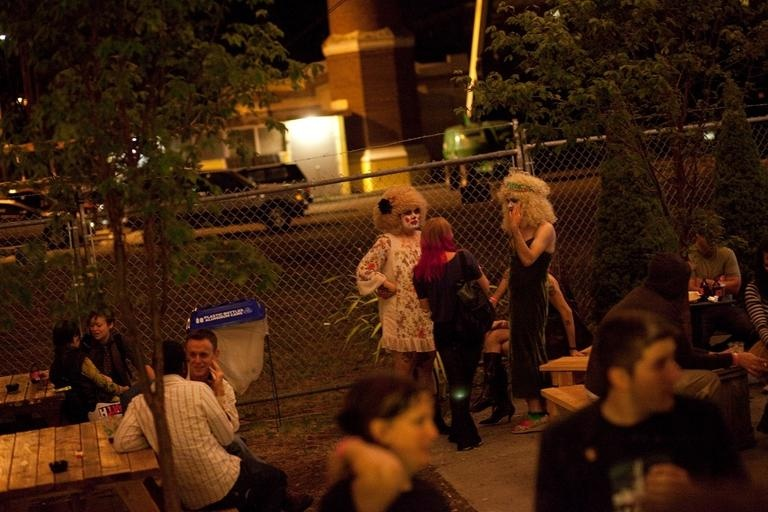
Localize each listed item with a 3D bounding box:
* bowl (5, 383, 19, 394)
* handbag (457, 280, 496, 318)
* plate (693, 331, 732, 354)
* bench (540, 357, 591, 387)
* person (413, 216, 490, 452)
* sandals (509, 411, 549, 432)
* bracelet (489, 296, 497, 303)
[{"bbox_3d":[-4.125,1.477,6.986,0.105,0.051,0.128,1,-8,-18],"label":"bowl"},{"bbox_3d":[0.885,0.432,6.224,0.291,0.380,0.202,-16,-13,-26],"label":"handbag"},{"bbox_3d":[3.530,0.936,6.815,0.424,0.130,0.300,-4,-6,10],"label":"plate"},{"bbox_3d":[1.810,1.155,6.341,0.362,0.159,0.511,-1,0,8],"label":"bench"},{"bbox_3d":[0.787,0.782,6.528,0.842,2.272,0.834,-5,3,24],"label":"person"},{"bbox_3d":[1.528,1.707,6.545,0.429,0.173,0.174,-6,2,-10],"label":"sandals"},{"bbox_3d":[1.158,0.468,6.701,0.104,0.060,0.102,-5,-2,-26],"label":"bracelet"}]
